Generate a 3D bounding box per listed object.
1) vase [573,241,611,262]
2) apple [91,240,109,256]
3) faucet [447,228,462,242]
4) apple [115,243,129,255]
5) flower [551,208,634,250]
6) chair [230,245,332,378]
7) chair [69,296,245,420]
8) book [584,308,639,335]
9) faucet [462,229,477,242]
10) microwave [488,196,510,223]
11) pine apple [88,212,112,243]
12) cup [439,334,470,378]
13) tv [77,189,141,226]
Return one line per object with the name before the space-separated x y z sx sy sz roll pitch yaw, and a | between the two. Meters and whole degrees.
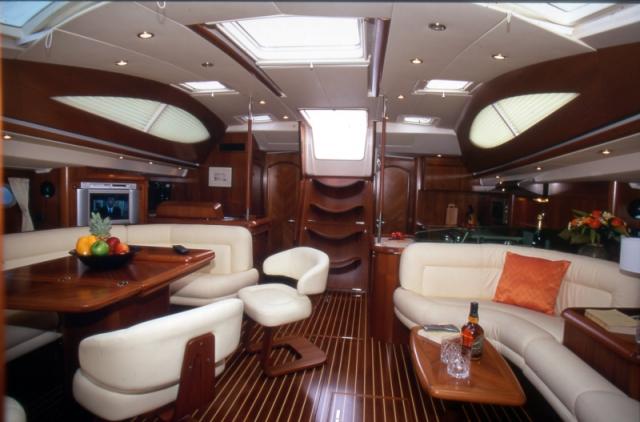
vase | 2.635 0.387 4.014 0.166 0.156 0.164 -9 5 -12
apple | -1.866 0.315 3.566 0.125 0.125 0.124 2 6 23
faucet | 1.618 0.298 5.018 0.132 0.093 0.407 -1 6 10
apple | -1.730 0.342 3.684 0.094 0.101 0.102 1 -3 32
flower | 2.641 0.152 4.027 0.431 0.195 0.430 -11 21 1
chair | -0.274 0.962 4.238 1.063 1.364 1.086 -2 7 -33
chair | -1.107 1.037 2.936 1.149 0.762 0.834 -4 11 -38
book | 2.235 0.847 3.204 0.188 0.044 0.190 -3 10 -27
faucet | 1.789 0.304 4.993 0.163 0.130 0.159 -3 8 -2
microwave | 2.794 -0.004 6.495 0.296 0.366 0.515 2 3 9
pine apple | -1.983 0.135 3.765 0.198 0.281 0.202 14 -14 -26
cup | 1.057 1.133 3.219 0.241 0.233 0.209 -2 1 32
tv | -2.584 -0.081 5.107 0.453 0.490 0.803 -1 -2 22
